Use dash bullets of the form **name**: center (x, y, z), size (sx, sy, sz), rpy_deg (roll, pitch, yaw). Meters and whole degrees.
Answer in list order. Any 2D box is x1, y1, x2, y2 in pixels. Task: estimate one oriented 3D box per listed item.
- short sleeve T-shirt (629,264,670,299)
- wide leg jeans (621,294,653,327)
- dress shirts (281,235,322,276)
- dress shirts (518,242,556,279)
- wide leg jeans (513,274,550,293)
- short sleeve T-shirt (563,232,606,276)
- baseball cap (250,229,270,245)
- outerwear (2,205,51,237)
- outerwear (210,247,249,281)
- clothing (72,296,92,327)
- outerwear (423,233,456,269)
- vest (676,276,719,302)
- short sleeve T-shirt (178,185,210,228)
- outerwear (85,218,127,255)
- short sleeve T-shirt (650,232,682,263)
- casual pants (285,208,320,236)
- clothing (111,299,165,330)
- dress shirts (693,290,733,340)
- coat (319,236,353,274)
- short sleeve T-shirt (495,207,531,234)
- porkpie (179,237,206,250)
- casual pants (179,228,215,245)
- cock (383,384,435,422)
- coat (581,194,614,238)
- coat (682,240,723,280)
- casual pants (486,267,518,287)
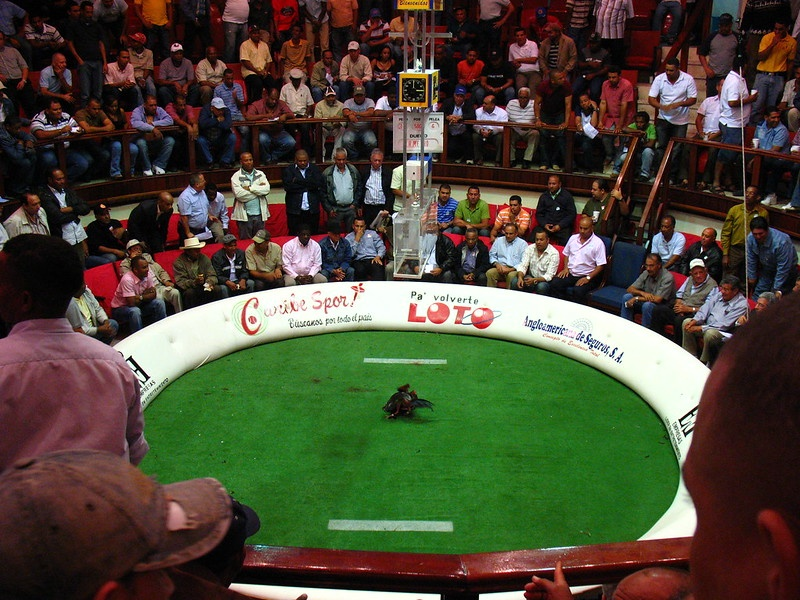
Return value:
- **short sleeve T-shirt**: center (4.316, -0.285, 10.469), size (0.539, 0.392, 0.418), rpy_deg (-6, 13, -44)
- **wide leg jeans**: center (4.004, 0.176, 10.412), size (0.342, 0.450, 0.339), rpy_deg (23, 4, -36)
- **dress shirts**: center (-1.867, -0.819, 12.029), size (0.983, 1.029, 0.642), rpy_deg (-1, 16, -12)
- **dress shirts**: center (2.660, -0.747, 11.790), size (0.616, 0.771, 0.685), rpy_deg (18, 26, 27)
- **wide leg jeans**: center (2.453, -0.275, 11.538), size (0.422, 0.176, 0.452), rpy_deg (11, -7, 1)
- **short sleeve T-shirt**: center (3.411, -0.829, 11.335), size (0.360, 0.613, 0.661), rpy_deg (-5, 16, -43)
- **baseball cap**: center (-2.513, -1.169, 11.354), size (0.208, 0.184, 0.312), rpy_deg (26, 17, 22)
- **outerwear**: center (-5.922, -1.256, 9.717), size (0.587, 0.380, 0.575), rpy_deg (-11, 26, -31)
- **outerwear**: center (-3.188, -0.720, 11.647), size (0.755, 0.777, 0.549), rpy_deg (-5, 12, -25)
- **clothing**: center (-4.666, 0.186, 8.982), size (0.140, 0.386, 0.286), rpy_deg (-10, 14, 19)
- **outerwear**: center (0.694, -0.887, 11.322), size (0.646, 0.699, 0.479), rpy_deg (8, 5, 11)
- **vest**: center (4.832, -0.159, 9.982), size (0.192, 0.324, 0.324), rpy_deg (12, 12, -35)
- **short sleeve T-shirt**: center (-4.000, -1.815, 11.942), size (0.388, 0.695, 0.622), rpy_deg (7, 26, 16)
- **outerwear**: center (-5.398, -1.151, 11.284), size (0.740, 0.951, 0.644), rpy_deg (-7, 15, -42)
- **short sleeve T-shirt**: center (4.719, -0.924, 10.903), size (0.486, 0.556, 0.323), rpy_deg (8, 15, 37)
- **casual pants**: center (-2.069, -1.654, 12.861), size (0.704, 0.940, 0.239), rpy_deg (-3, 11, -13)
- **clothing**: center (-4.363, 0.231, 10.209), size (0.361, 0.455, 0.339), rpy_deg (-15, 5, 45)
- **dress shirts**: center (4.755, 0.248, 9.341), size (0.507, 0.548, 0.393), rpy_deg (-18, 40, -2)
- **coat**: center (-1.296, -0.877, 12.377), size (0.694, 0.996, 0.697), rpy_deg (-3, 11, -14)
- **short sleeve T-shirt**: center (2.278, -1.628, 12.502), size (0.612, 0.859, 0.606), rpy_deg (3, 12, 10)
- **porkpie**: center (-3.756, -0.984, 10.949), size (0.359, 0.145, 0.318), rpy_deg (-7, 5, 40)
- **casual pants**: center (-4.003, -1.257, 12.118), size (0.427, 0.178, 0.355), rpy_deg (-5, 9, 10)
- **cock**: center (0.080, 1.399, 8.310), size (0.460, 0.398, 0.628), rpy_deg (16, 4, 15)
- **coat**: center (3.768, -1.581, 11.703), size (0.533, 0.355, 1.153), rpy_deg (-21, 24, 12)
- **coat**: center (5.120, -0.666, 10.394), size (0.390, 0.715, 0.588), rpy_deg (5, 8, -29)
- **casual pants**: center (1.916, -0.411, 11.759), size (0.484, 0.554, 0.374), rpy_deg (3, -6, 10)
